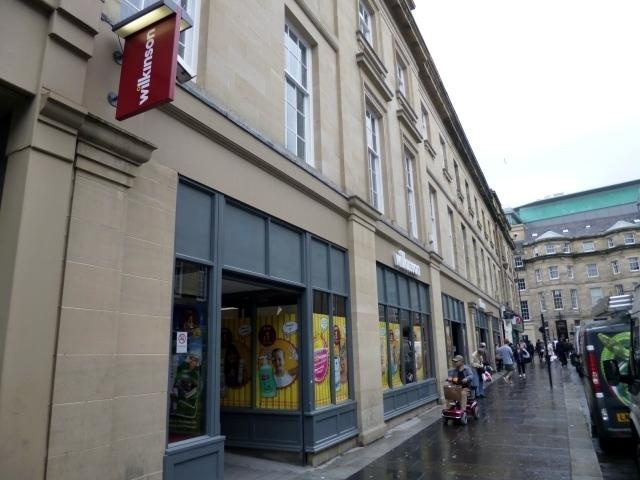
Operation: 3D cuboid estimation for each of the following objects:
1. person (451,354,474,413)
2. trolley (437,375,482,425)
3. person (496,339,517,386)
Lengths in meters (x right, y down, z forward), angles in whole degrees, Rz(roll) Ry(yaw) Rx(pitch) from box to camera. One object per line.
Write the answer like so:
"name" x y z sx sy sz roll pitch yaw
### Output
"person" 4.056 4.136 11.953 0.591 1.624 0.785 -7 -14 29
"trolley" 3.972 4.601 11.968 0.711 1.225 1.394 -13 -16 34
"person" 9.580 6.175 21.339 0.582 2.084 0.764 -6 -7 26
